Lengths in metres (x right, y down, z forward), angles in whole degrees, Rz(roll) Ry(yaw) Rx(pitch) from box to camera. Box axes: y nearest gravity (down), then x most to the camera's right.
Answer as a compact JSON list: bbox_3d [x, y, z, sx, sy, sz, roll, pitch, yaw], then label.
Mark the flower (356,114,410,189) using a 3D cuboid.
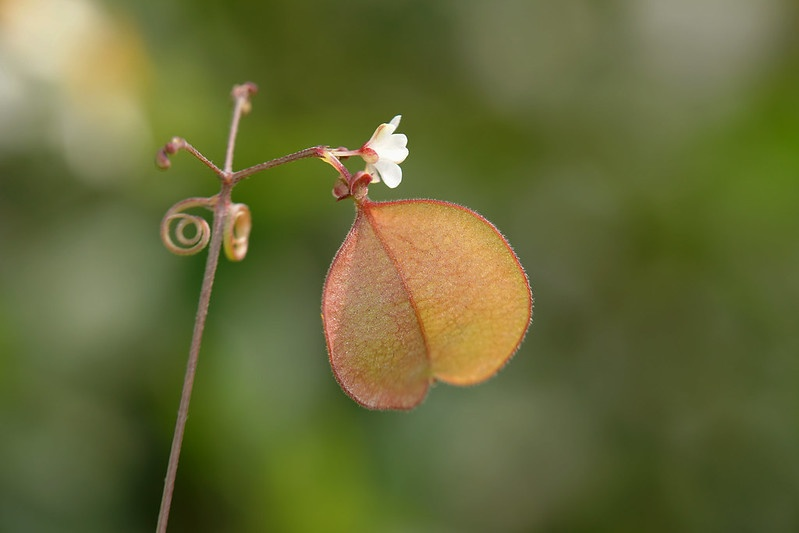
[{"bbox_3d":[-0.054,-0.398,2.602,0.158,0.248,0.140,-1,2,-2],"label":"flower"}]
